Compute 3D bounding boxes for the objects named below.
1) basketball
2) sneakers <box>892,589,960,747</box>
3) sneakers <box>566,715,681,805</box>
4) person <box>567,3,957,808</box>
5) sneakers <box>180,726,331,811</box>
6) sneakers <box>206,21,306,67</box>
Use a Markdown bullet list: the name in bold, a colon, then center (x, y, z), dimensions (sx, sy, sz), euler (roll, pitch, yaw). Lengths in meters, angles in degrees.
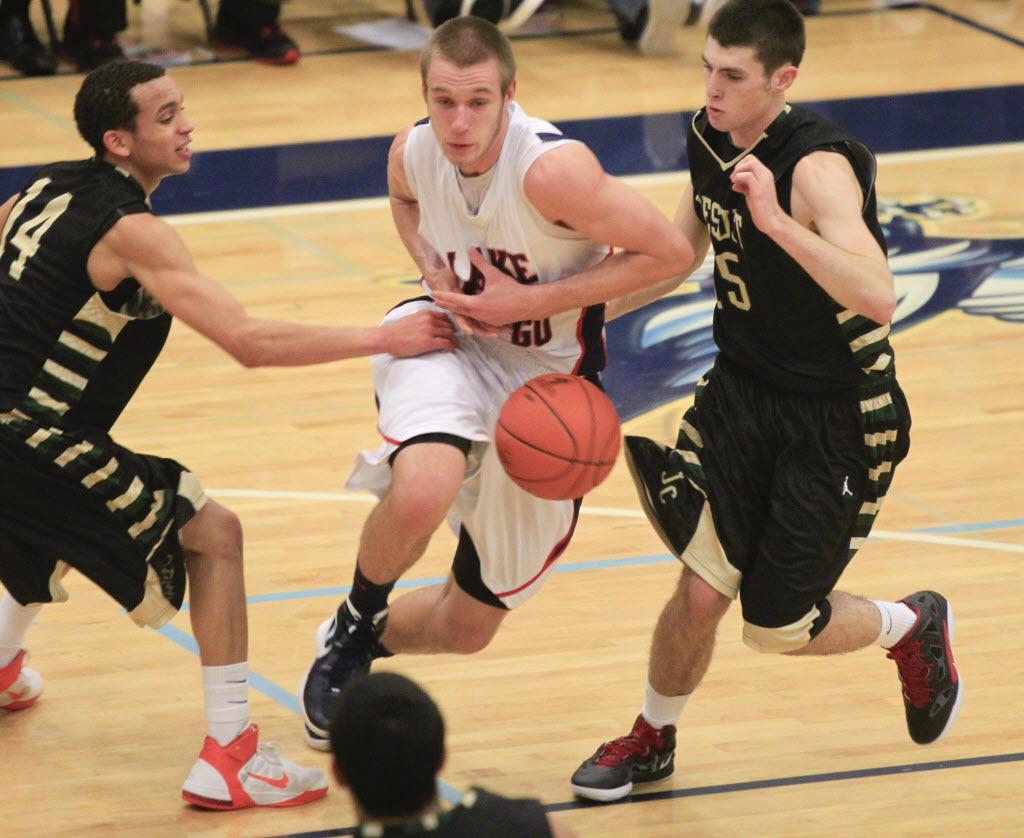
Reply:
- **basketball**: center (0.101, 0.063, 2.912), dimensions (0.283, 0.297, 0.212), euler (-1, 23, -10)
- **sneakers**: center (1.031, 0.630, 3.188), dimensions (0.209, 0.374, 0.142), euler (1, -9, -24)
- **sneakers**: center (0.277, 0.798, 3.008), dimensions (0.362, 0.145, 0.120), euler (-8, 21, -39)
- **person**: center (0.716, -0.025, 2.914), dimensions (0.879, 1.794, 0.765), euler (6, 24, 6)
- **sneakers**: center (-0.586, 0.811, 2.908), dimensions (0.397, 0.168, 0.133), euler (1, 0, -21)
- **sneakers**: center (-1.809, -2.573, 8.539), dimensions (0.710, 0.256, 0.246), euler (10, 29, 23)
